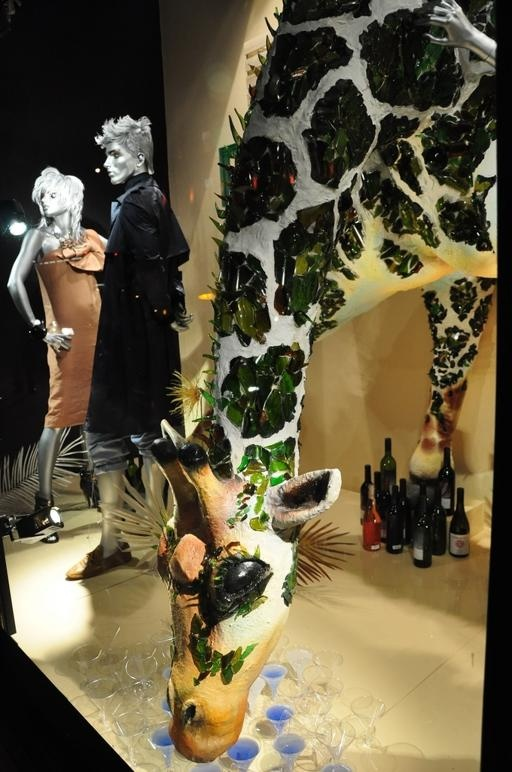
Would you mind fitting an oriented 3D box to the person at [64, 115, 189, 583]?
[{"bbox_3d":[-0.253,0.003,1.109,0.145,0.904,0.454,-4,3,-27],"label":"person"}]
